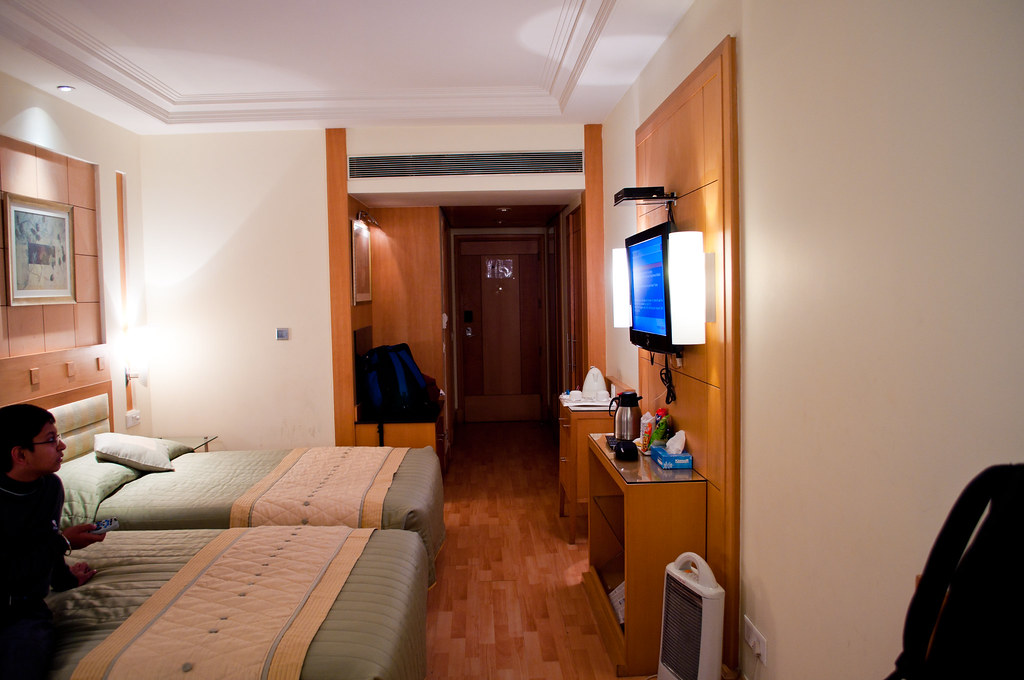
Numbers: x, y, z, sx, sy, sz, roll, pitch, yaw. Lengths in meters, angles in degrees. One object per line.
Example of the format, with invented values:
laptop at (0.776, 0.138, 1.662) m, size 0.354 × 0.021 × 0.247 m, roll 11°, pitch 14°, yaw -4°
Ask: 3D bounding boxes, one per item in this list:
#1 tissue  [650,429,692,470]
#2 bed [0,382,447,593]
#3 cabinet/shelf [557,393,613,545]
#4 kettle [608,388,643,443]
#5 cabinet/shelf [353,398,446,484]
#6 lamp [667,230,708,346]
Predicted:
tissue  at (0.897, 0.625, 3.875) m, size 0.144 × 0.182 × 0.383 m, roll 1°, pitch -2°, yaw 1°
bed at (-1.688, 0.917, 4.439) m, size 1.744 × 0.732 × 1.336 m, roll -1°, pitch 7°, yaw -5°
cabinet/shelf at (0.529, 0.923, 4.944) m, size 0.390 × 0.968 × 1.006 m, roll 1°, pitch 3°, yaw 2°
kettle at (0.721, 0.468, 4.481) m, size 0.261 × 0.369 × 0.218 m, roll 0°, pitch 1°, yaw 4°
cabinet/shelf at (-0.945, 0.756, 6.024) m, size 0.827 × 0.580 × 0.515 m, roll 0°, pitch 5°, yaw -1°
lamp at (0.915, -0.260, 3.627) m, size 0.199 × 0.592 × 0.180 m, roll -2°, pitch 13°, yaw -10°
